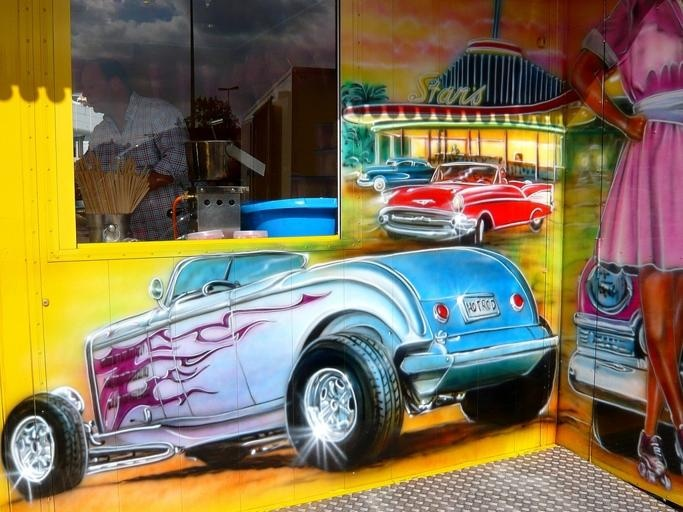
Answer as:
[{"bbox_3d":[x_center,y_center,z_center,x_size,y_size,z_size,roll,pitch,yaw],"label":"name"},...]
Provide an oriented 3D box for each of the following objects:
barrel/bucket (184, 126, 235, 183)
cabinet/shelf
[{"bbox_3d":[-0.745,-0.521,4.459,0.276,0.226,0.238,-1,9,5],"label":"barrel/bucket"},{"bbox_3d":[-0.358,-0.715,4.713,0.448,0.740,0.727,-7,10,-31],"label":"cabinet/shelf"}]
